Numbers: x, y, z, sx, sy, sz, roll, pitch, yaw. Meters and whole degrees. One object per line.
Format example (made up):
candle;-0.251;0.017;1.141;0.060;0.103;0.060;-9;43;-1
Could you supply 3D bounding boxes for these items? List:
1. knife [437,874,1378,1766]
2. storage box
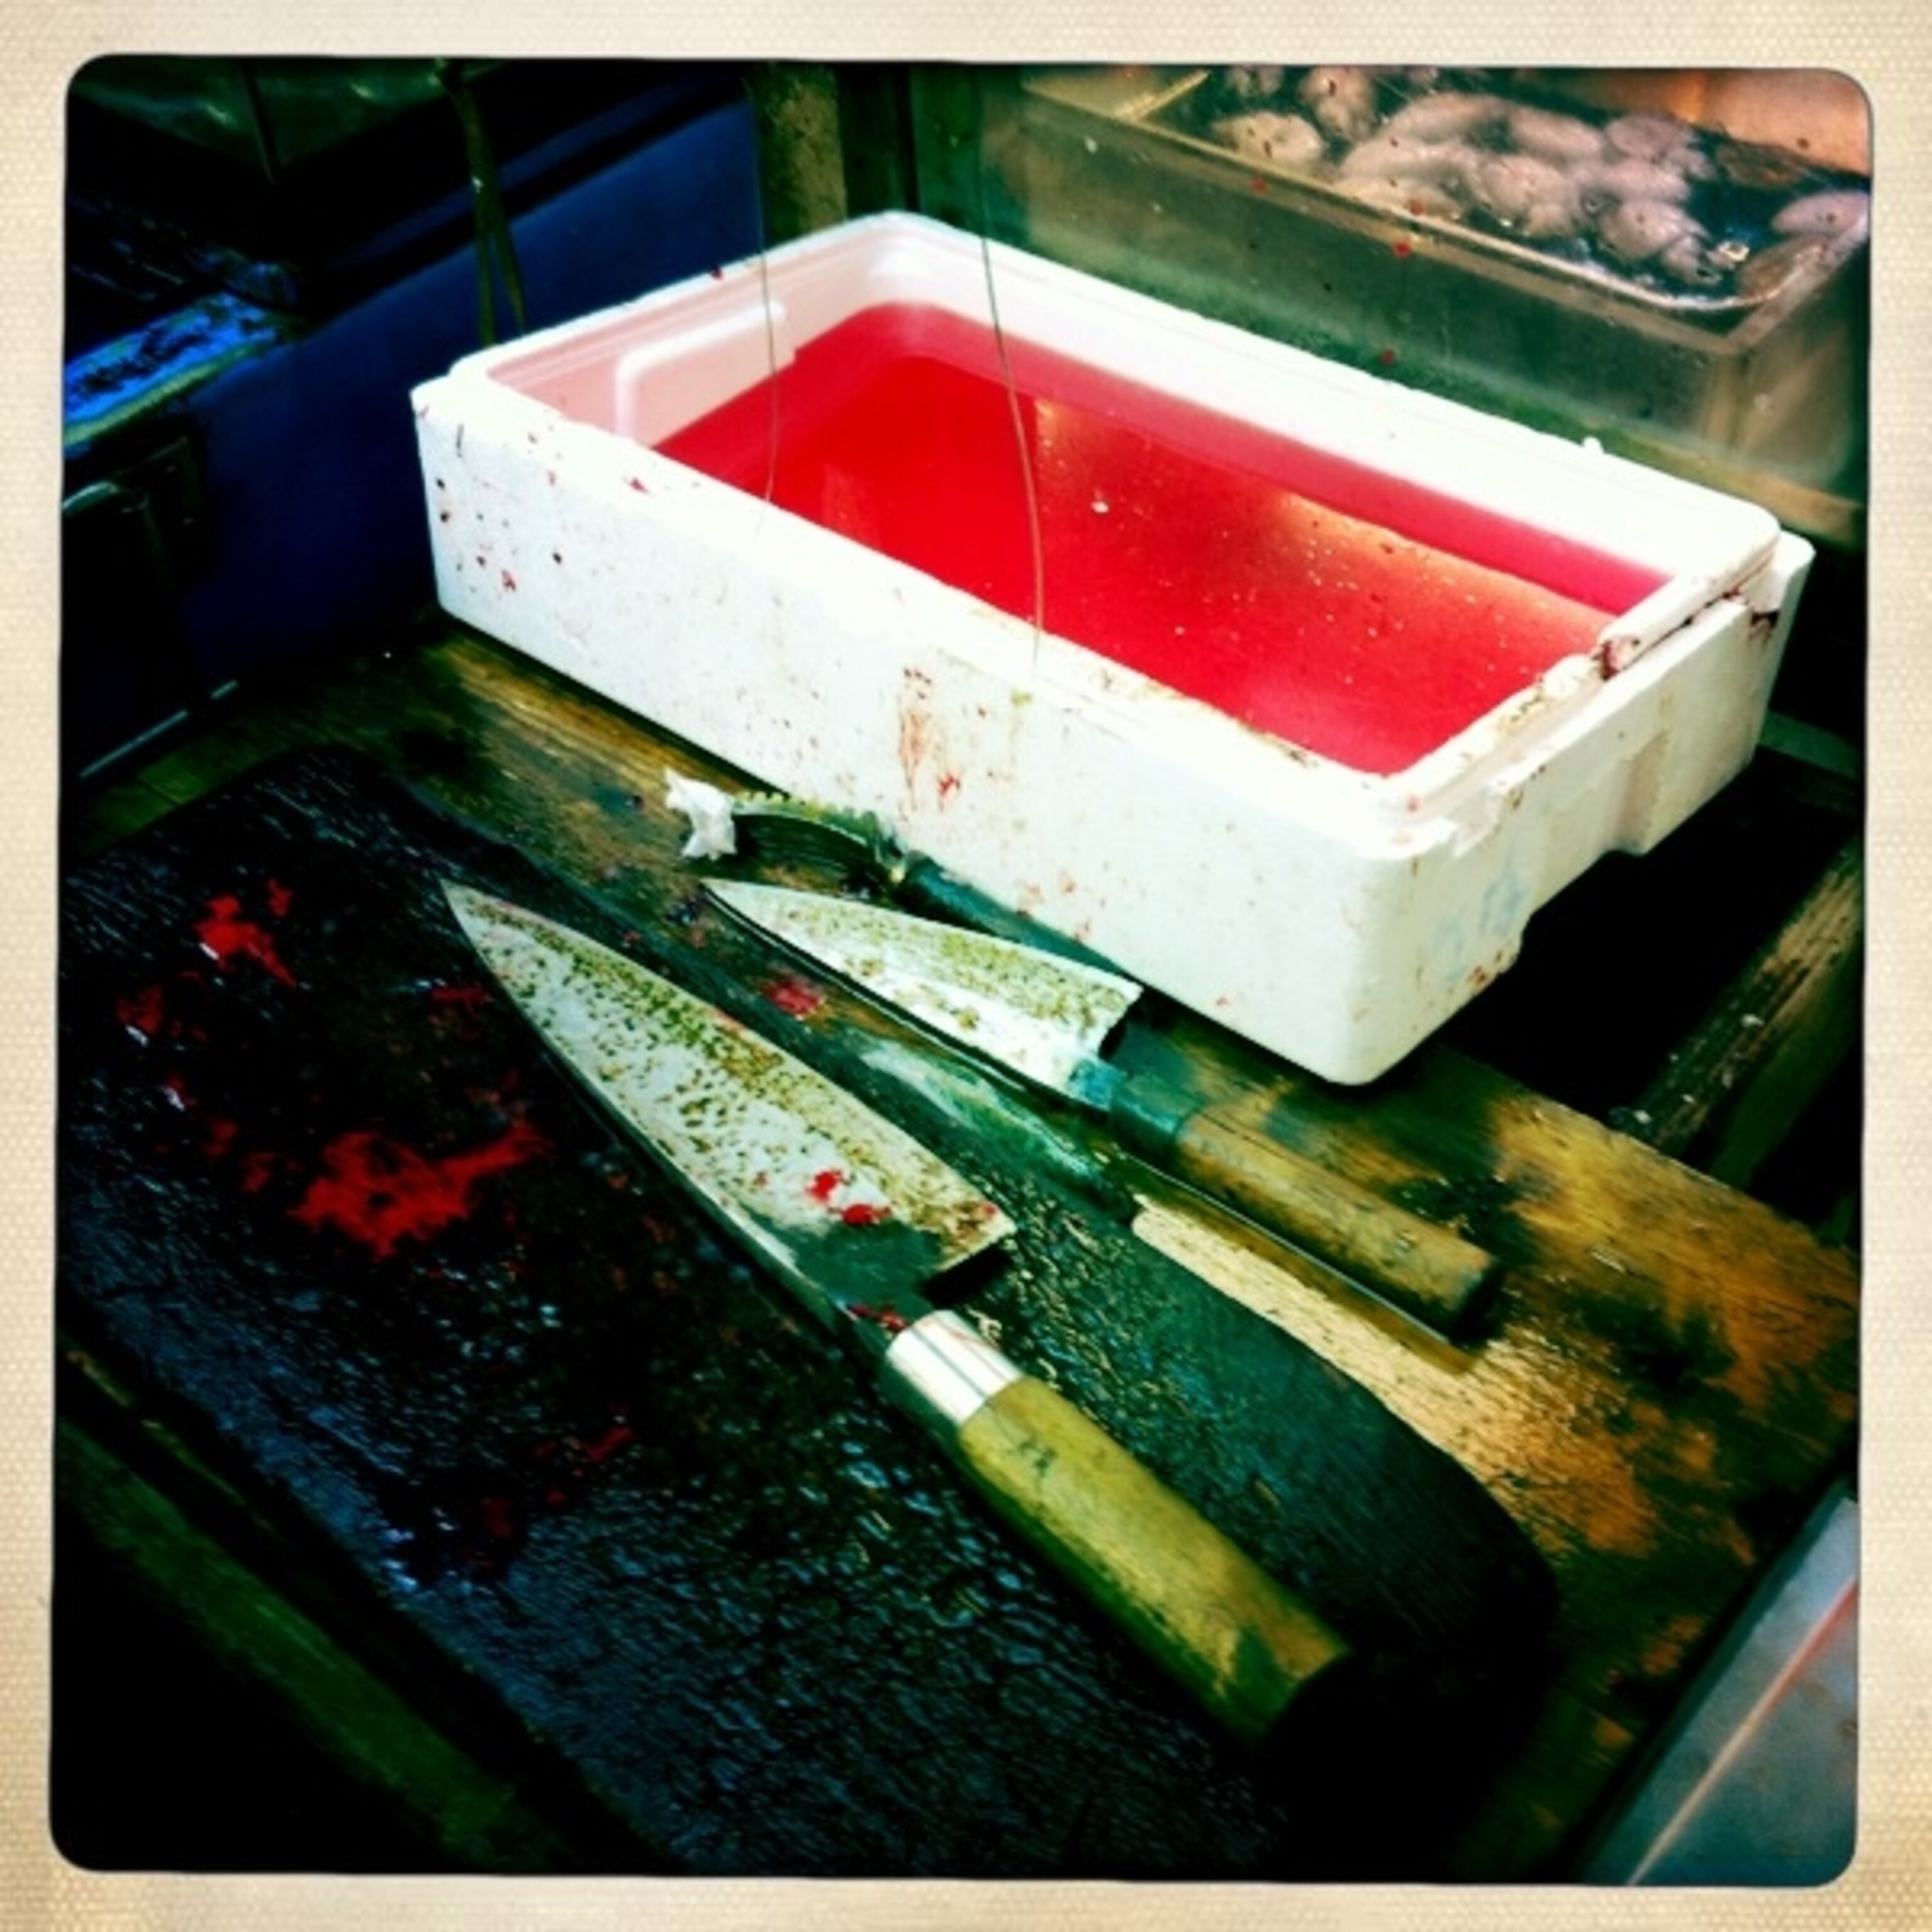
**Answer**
knife;-0.097;0.090;0.732;0.122;0.066;0.597;-29;47;-34
storage box;0.023;-0.165;0.861;0.632;0.143;0.390;30;50;30
